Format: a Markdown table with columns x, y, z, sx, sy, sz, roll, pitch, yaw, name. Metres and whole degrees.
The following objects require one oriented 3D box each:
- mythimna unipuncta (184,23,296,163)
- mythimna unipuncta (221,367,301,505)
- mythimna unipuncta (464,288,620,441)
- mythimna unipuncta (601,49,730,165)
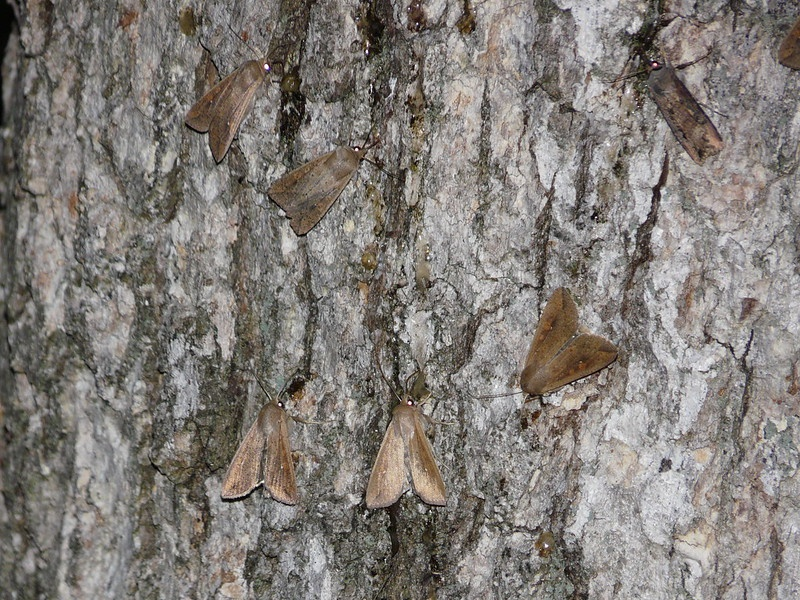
| x | y | z | sx | sy | sz | roll | pitch | yaw | name |
| --- | --- | --- | --- | --- | --- | --- | --- | --- | --- |
| -0.733 | -0.962 | 5.964 | 0.229 | 0.144 | 0.640 | 12 | 76 | 43 | mythimna unipuncta |
| -0.657 | 0.672 | 6.158 | 0.232 | 0.169 | 0.661 | 5 | 88 | 1 | mythimna unipuncta |
| 0.780 | 0.277 | 6.042 | 0.334 | 0.125 | 0.658 | 40 | 105 | 18 | mythimna unipuncta |
| 1.294 | -0.910 | 5.857 | 0.142 | 0.507 | 0.628 | -18 | 49 | -15 | mythimna unipuncta |
